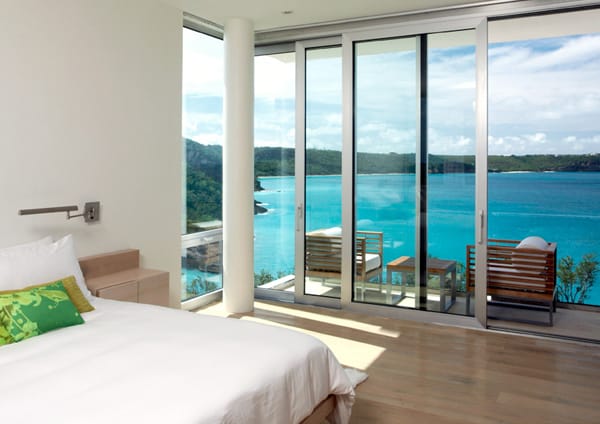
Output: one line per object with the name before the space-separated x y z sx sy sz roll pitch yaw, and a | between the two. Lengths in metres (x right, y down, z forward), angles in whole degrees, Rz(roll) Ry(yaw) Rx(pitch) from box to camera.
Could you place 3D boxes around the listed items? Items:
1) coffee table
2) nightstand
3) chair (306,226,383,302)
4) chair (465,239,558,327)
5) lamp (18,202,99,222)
coffee table | 1.523 0.964 4.994 0.764 0.504 0.409 14 -19 -42
nightstand | -1.766 0.725 3.834 0.496 0.558 0.881 9 6 24
chair | 0.587 0.659 5.240 0.981 0.869 0.864 -1 0 12
chair | 2.647 0.802 4.975 1.119 0.805 1.106 4 -1 41
lamp | -2.122 -0.004 3.660 0.186 0.137 0.340 2 4 39
